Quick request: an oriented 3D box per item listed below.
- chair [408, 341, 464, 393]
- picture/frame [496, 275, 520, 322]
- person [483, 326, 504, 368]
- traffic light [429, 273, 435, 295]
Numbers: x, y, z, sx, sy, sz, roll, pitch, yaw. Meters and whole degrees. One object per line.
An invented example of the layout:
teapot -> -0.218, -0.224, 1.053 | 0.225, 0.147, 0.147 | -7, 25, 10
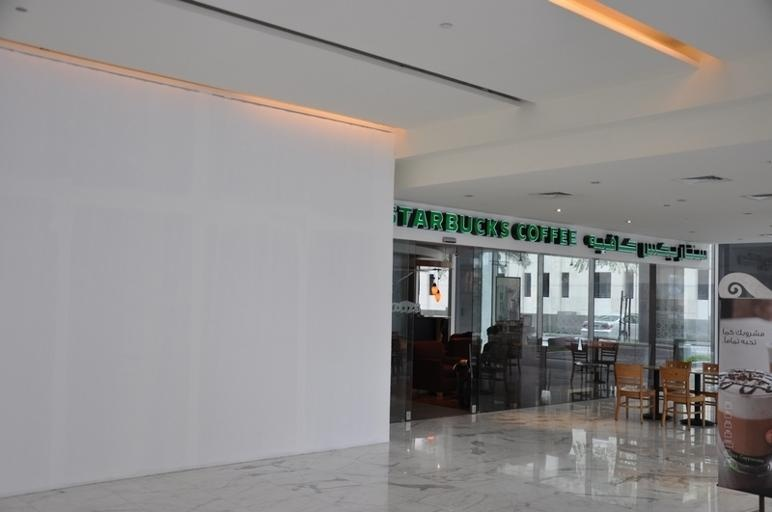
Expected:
chair -> 1.278, 2.501, 13.983 | 1.317, 0.994, 1.302 | 1, 0, 27
picture/frame -> 2.589, 0.882, 12.977 | 1.087, 1.228, 0.094 | 3, -6, -40
person -> 2.250, 1.816, 12.671 | 0.141, 0.861, 0.592 | 3, 0, 44
traffic light -> 1.271, 0.739, 16.510 | 0.222, 0.548, 0.074 | 2, 0, 38
